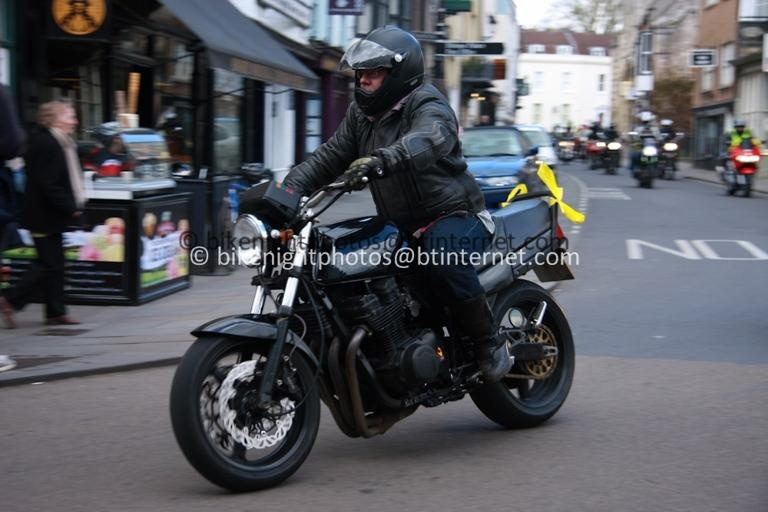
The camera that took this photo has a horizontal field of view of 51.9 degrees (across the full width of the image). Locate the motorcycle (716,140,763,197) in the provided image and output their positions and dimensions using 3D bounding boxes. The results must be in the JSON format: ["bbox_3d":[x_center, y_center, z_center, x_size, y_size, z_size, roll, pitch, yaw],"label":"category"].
[{"bbox_3d":[10.623,-2.562,23.423,0.819,1.622,1.174,4,12,19],"label":"motorcycle"}]

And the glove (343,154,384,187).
[{"bbox_3d":[-0.123,-0.509,4.717,0.231,0.111,0.170,-21,19,-23],"label":"glove"}]

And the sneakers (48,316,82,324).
[{"bbox_3d":[-3.502,0.719,8.662,0.364,0.130,0.125,-1,6,-11],"label":"sneakers"}]

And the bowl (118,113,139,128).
[{"bbox_3d":[-3.319,-1.758,10.334,0.323,0.187,0.306,1,4,0],"label":"bowl"}]

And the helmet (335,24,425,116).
[{"bbox_3d":[0.028,-1.205,5.127,0.643,0.548,0.497,-18,23,-33],"label":"helmet"}]

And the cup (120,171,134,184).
[{"bbox_3d":[-3.110,-0.944,9.552,0.153,0.127,0.146,1,6,0],"label":"cup"}]

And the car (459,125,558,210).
[{"bbox_3d":[2.456,-1.905,16.601,1.749,1.300,2.809,-1,8,17],"label":"car"}]
